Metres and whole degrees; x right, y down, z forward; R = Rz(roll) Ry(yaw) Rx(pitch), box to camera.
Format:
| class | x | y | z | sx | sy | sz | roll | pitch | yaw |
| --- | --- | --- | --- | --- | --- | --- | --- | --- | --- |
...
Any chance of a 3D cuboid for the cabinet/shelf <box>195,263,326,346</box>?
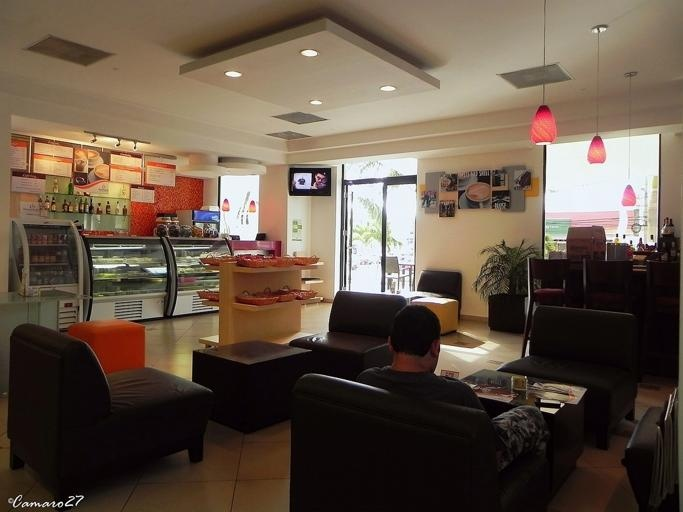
| class | x | y | z | sx | sy | sz | roll | pitch | yaw |
| --- | --- | --- | --- | --- | --- | --- | --- | --- | --- |
| cabinet/shelf | -0.945 | 0.637 | 6.081 | 0.869 | 1.227 | 1.491 | 1 | -1 | 29 |

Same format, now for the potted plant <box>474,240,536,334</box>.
| class | x | y | z | sx | sy | sz | roll | pitch | yaw |
| --- | --- | --- | --- | --- | --- | --- | --- | --- | --- |
| potted plant | 2.859 | 0.506 | 8.356 | 1.431 | 1.641 | 1.281 | 0 | -3 | 30 |

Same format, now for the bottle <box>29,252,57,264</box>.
| class | x | y | z | sx | sy | sz | roll | pitch | yaw |
| --- | --- | --- | --- | --- | --- | --- | --- | --- | --- |
| bottle | -4.169 | 0.047 | 6.800 | 0.060 | 0.147 | 0.350 | 4 | 5 | 34 |

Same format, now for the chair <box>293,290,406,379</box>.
| class | x | y | z | sx | sy | sz | roll | pitch | yaw |
| --- | --- | --- | --- | --- | --- | --- | --- | --- | --- |
| chair | 0.075 | 0.876 | 5.071 | 1.184 | 0.916 | 1.172 | 0 | 2 | -1 |

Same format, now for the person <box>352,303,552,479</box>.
| class | x | y | z | sx | sy | sz | roll | pitch | yaw |
| --- | --- | --- | --- | --- | --- | --- | --- | --- | --- |
| person | 0.531 | 0.776 | 2.861 | 1.166 | 0.979 | 0.685 | 2 | 3 | 28 |

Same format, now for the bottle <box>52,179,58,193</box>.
| class | x | y | z | sx | sy | sz | roll | pitch | yaw |
| --- | --- | --- | --- | --- | --- | --- | --- | --- | --- |
| bottle | -5.042 | -1.223 | 8.581 | 0.057 | 0.236 | 0.114 | 0 | 4 | -8 |

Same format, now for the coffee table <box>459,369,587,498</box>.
| class | x | y | z | sx | sy | sz | roll | pitch | yaw |
| --- | --- | --- | --- | --- | --- | --- | --- | --- | --- |
| coffee table | 1.335 | 1.099 | 3.538 | 0.811 | 0.613 | 0.650 | 4 | 8 | 40 |

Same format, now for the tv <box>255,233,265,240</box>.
| class | x | y | z | sx | sy | sz | roll | pitch | yaw |
| --- | --- | --- | --- | --- | --- | --- | --- | --- | --- |
| tv | -1.752 | -0.405 | 10.605 | 0.145 | 0.058 | 0.145 | -15 | 16 | -8 |

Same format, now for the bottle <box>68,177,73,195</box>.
| class | x | y | z | sx | sy | sz | roll | pitch | yaw |
| --- | --- | --- | --- | --- | --- | --- | --- | --- | --- |
| bottle | -4.864 | -1.232 | 8.742 | 0.138 | 0.284 | 0.063 | 3 | 5 | 28 |

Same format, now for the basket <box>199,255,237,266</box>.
| class | x | y | z | sx | sy | sz | roll | pitch | yaw |
| --- | --- | --- | --- | --- | --- | --- | --- | --- | --- |
| basket | -1.425 | 0.079 | 5.700 | 0.496 | 0.095 | 0.227 | 3 | 5 | 20 |

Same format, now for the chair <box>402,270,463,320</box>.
| class | x | y | z | sx | sy | sz | roll | pitch | yaw |
| --- | --- | --- | --- | --- | --- | --- | --- | --- | --- |
| chair | 1.648 | 0.711 | 8.975 | 0.651 | 0.855 | 0.902 | 3 | -1 | -41 |

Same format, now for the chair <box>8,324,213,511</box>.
| class | x | y | z | sx | sy | sz | roll | pitch | yaw |
| --- | --- | --- | --- | --- | --- | --- | --- | --- | --- |
| chair | -1.680 | 0.928 | 3.706 | 1.144 | 1.087 | 1.206 | 3 | 4 | 42 |

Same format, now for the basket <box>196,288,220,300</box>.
| class | x | y | z | sx | sy | sz | roll | pitch | yaw |
| --- | --- | --- | --- | --- | --- | --- | --- | --- | --- |
| basket | -1.608 | 0.474 | 5.884 | 0.357 | 0.131 | 0.221 | -2 | -3 | 38 |

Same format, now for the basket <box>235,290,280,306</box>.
| class | x | y | z | sx | sy | sz | roll | pitch | yaw |
| --- | --- | --- | --- | --- | --- | --- | --- | --- | --- |
| basket | -0.957 | 0.481 | 5.587 | 0.455 | 0.118 | 0.405 | -3 | 6 | -43 |

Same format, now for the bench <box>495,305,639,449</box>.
| class | x | y | z | sx | sy | sz | roll | pitch | yaw |
| --- | --- | --- | --- | --- | --- | --- | --- | --- | --- |
| bench | 2.053 | 0.912 | 4.507 | 1.159 | 1.147 | 1.125 | -2 | -5 | 41 |

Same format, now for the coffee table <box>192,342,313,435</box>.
| class | x | y | z | sx | sy | sz | roll | pitch | yaw |
| --- | --- | --- | --- | --- | --- | --- | --- | --- | --- |
| coffee table | -0.831 | 1.040 | 4.320 | 0.735 | 0.551 | 0.747 | 3 | 3 | 36 |

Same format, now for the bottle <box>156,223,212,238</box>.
| class | x | y | z | sx | sy | sz | roll | pitch | yaw |
| --- | --- | --- | --- | --- | --- | --- | --- | --- | --- |
| bottle | -2.847 | -0.441 | 8.775 | 0.449 | 0.243 | 1.215 | 4 | 6 | 38 |

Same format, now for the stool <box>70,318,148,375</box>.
| class | x | y | z | sx | sy | sz | roll | pitch | yaw |
| --- | --- | --- | --- | --- | --- | --- | --- | --- | --- |
| stool | -2.360 | 0.985 | 5.230 | 0.490 | 0.445 | 0.480 | -6 | 0 | -34 |
